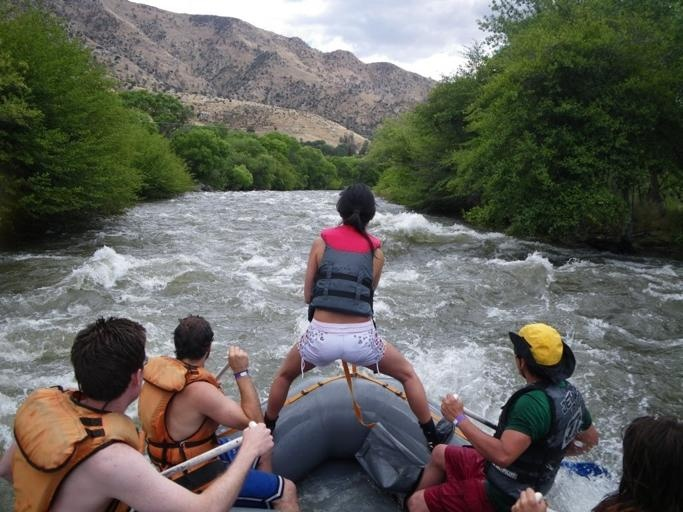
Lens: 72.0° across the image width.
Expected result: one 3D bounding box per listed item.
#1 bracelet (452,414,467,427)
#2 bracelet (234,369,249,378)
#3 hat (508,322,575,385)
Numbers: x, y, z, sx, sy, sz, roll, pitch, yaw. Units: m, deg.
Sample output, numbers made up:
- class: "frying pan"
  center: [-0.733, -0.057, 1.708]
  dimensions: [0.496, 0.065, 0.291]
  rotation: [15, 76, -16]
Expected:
- class: "bracelet"
  center: [0.929, 1.337, 3.749]
  dimensions: [0.038, 0.090, 0.093]
  rotation: [49, 36, 15]
- class: "bracelet"
  center: [-0.851, 1.037, 4.049]
  dimensions: [0.084, 0.034, 0.086]
  rotation: [-23, 0, -16]
- class: "hat"
  center: [1.534, 0.755, 3.614]
  dimensions: [0.468, 0.410, 0.216]
  rotation: [6, 9, 22]
